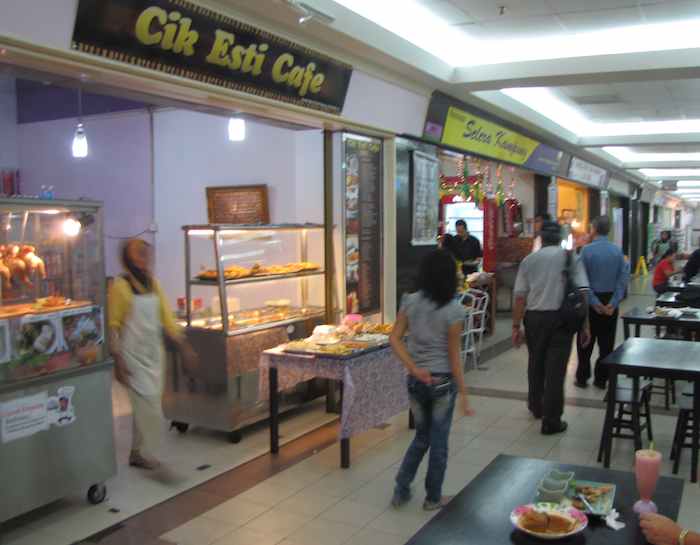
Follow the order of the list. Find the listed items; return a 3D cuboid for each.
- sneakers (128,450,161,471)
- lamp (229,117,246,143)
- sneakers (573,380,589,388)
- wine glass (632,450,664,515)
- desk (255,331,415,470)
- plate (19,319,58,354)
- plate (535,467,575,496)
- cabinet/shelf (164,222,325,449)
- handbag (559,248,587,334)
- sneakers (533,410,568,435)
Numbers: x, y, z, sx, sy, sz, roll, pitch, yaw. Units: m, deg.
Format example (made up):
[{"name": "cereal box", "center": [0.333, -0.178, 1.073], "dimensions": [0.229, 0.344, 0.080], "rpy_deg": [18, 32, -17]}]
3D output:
[{"name": "sneakers", "center": [-1.801, 1.621, 4.618], "dimensions": [0.268, 0.177, 0.125], "rpy_deg": [0, 0, -2]}, {"name": "lamp", "center": [-1.141, -1.438, 5.337], "dimensions": [0.140, 0.199, 0.170], "rpy_deg": [-1, 5, 1]}, {"name": "sneakers", "center": [2.953, 1.414, 6.807], "dimensions": [0.072, 0.096, 0.143], "rpy_deg": [-3, 11, -43]}, {"name": "wine glass", "center": [1.242, 0.859, 2.227], "dimensions": [0.085, 0.236, 0.169], "rpy_deg": [2, 6, 33]}, {"name": "desk", "center": [-0.133, 0.787, 4.866], "dimensions": [1.008, 0.991, 1.586], "rpy_deg": [1, 2, 28]}, {"name": "plate", "center": [-2.124, 0.431, 3.605], "dimensions": [0.024, 0.258, 0.232], "rpy_deg": [2, 6, 34]}, {"name": "plate", "center": [0.899, 0.919, 2.334], "dimensions": [0.080, 0.048, 0.165], "rpy_deg": [-1, 2, 26]}, {"name": "cabinet/shelf", "center": [-1.024, 0.680, 5.351], "dimensions": [0.749, 1.937, 2.136], "rpy_deg": [3, 5, 27]}, {"name": "handbag", "center": [2.143, 0.196, 5.109], "dimensions": [0.223, 0.802, 0.226], "rpy_deg": [1, 6, 25]}, {"name": "sneakers", "center": [2.035, 1.511, 5.390], "dimensions": [0.142, 0.228, 0.365], "rpy_deg": [3, 10, 40]}]
